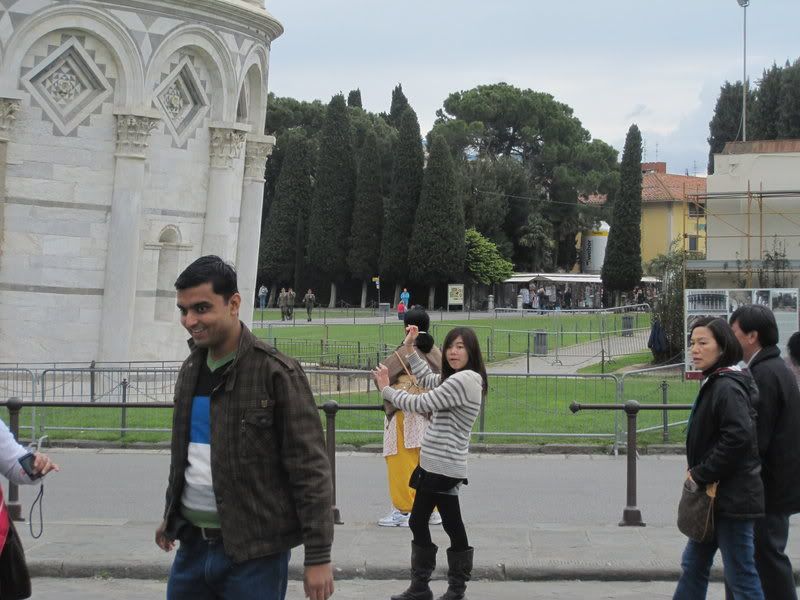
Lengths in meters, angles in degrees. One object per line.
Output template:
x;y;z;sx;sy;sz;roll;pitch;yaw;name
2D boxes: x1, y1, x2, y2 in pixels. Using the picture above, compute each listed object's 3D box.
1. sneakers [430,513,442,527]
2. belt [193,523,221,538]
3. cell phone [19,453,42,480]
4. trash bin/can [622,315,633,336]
0.398;2.472;10.657;0.131;0.203;0.418;0;-13;-4;sneakers
-1.197;1.458;5.943;0.182;0.089;0.030;-1;-1;26;belt
-2.361;1.074;6.099;0.045;0.156;0.153;-17;-20;25;cell phone
9.136;1.258;38.170;0.566;1.111;1.085;0;0;13;trash bin/can
